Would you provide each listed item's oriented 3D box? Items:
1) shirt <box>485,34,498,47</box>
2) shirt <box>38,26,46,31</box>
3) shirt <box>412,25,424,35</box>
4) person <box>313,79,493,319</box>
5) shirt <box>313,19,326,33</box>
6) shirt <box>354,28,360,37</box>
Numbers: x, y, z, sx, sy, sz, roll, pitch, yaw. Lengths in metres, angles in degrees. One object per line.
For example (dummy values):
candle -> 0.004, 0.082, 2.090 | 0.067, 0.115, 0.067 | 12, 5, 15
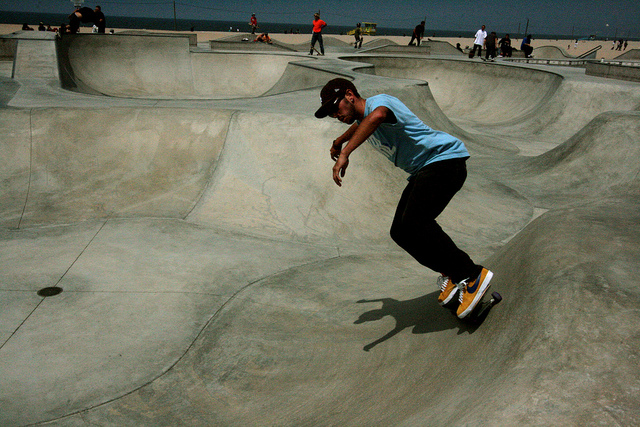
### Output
shirt -> 7.190, -7.338, 22.590 | 0.467, 0.548, 0.903 | 11, 19, 12
shirt -> -16.479, -11.114, 31.915 | 0.339, 0.254, 1.235 | -3, 18, -24
shirt -> 4.607, -8.560, 24.762 | 0.374, 0.377, 0.551 | 8, 18, 5
person -> 0.786, -0.123, 4.943 | 1.850, 2.096, 0.676 | 11, 22, 13
shirt -> -0.033, -6.766, 19.193 | 0.337, 0.470, 0.554 | 5, 19, -3
shirt -> 2.409, -11.519, 33.867 | 0.220, 0.542, 0.454 | 8, 20, 2
